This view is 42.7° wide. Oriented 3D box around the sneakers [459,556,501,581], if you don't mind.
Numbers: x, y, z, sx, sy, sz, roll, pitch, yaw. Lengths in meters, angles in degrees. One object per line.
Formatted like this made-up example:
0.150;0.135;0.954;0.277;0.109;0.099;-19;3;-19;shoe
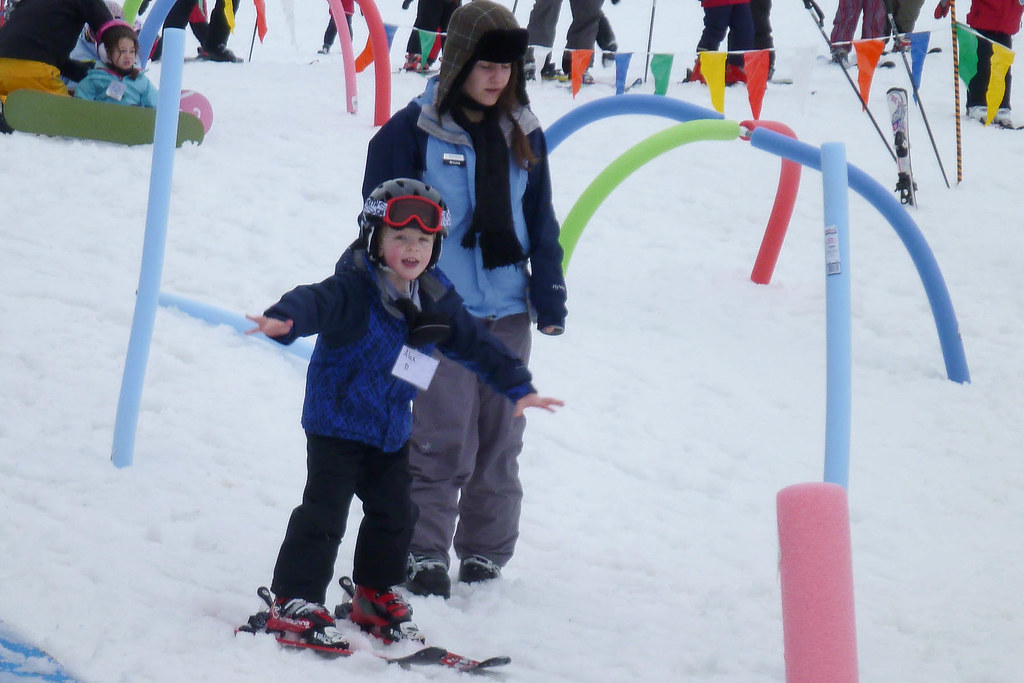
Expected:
-0.157;1.062;6.141;0.157;0.103;0.093;9;-7;-8;sneakers

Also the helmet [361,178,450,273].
-0.468;-0.546;5.817;0.336;0.359;0.393;7;10;-14;helmet

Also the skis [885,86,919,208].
2.873;-1.471;9.719;0.180;1.010;0.247;0;13;13;skis

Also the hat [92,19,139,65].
-2.779;-2.153;9.193;0.260;0.320;0.325;-13;62;-37;hat

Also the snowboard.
-2.939;-1.540;8.951;0.955;0.300;0.078;4;14;-22;snowboard

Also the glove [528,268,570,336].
0.193;-0.186;6.126;0.173;0.291;0.074;6;-1;24;glove
